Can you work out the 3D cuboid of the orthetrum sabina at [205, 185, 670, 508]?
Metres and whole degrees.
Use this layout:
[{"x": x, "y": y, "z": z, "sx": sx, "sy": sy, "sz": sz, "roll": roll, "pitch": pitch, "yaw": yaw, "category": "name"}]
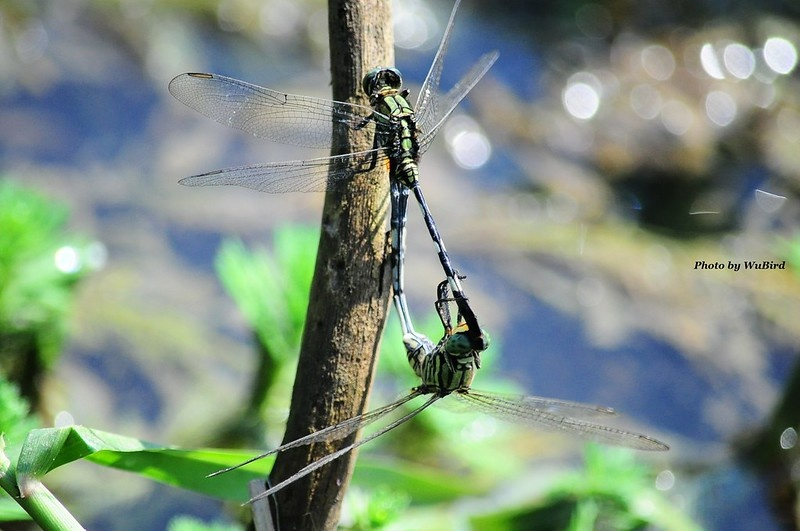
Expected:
[{"x": 0.227, "y": 0.205, "z": 2.533, "sx": 0.781, "sy": 1.378, "sz": 0.681, "roll": 2, "pitch": 0, "yaw": 28, "category": "orthetrum sabina"}]
